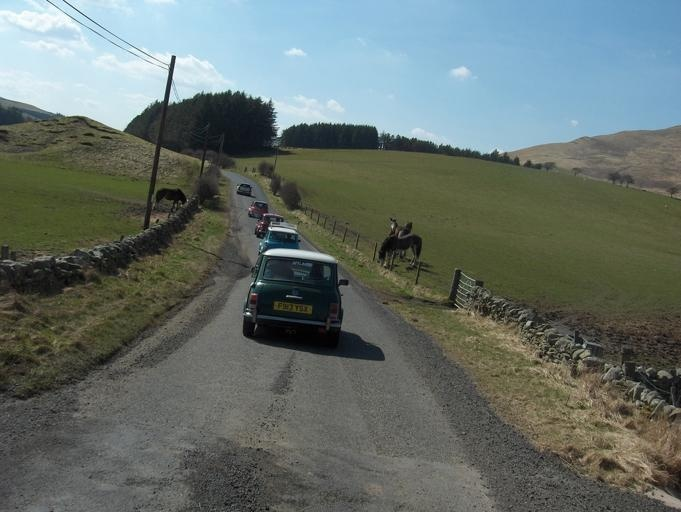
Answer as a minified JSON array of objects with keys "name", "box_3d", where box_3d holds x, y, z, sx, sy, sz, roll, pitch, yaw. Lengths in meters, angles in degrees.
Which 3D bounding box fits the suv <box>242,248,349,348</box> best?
[{"name":"suv","box_3d":[-1.373,0.956,15.281,1.794,1.621,3.322,6,8,-6]}]

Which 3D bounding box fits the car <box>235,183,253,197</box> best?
[{"name":"car","box_3d":[-14.232,-9.800,73.259,1.902,1.486,3.974,5,10,-15]}]

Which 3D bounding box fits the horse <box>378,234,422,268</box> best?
[{"name":"horse","box_3d":[4.453,-0.723,37.763,1.707,2.082,5.339,11,10,30]}]
